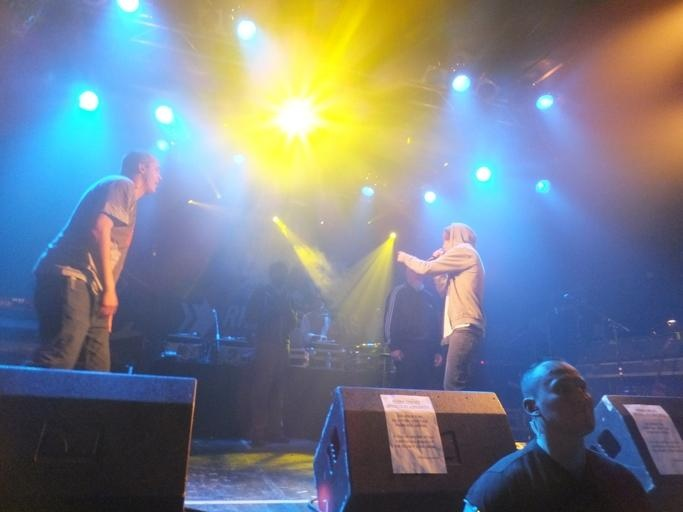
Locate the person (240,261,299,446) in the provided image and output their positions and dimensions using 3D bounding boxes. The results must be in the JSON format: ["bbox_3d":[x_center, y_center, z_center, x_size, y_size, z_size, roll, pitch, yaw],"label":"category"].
[{"bbox_3d":[-0.907,1.190,7.509,0.609,2.357,0.283,15,-20,-36],"label":"person"}]

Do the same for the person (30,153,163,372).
[{"bbox_3d":[-2.669,0.106,6.303,1.047,2.763,0.978,17,-52,-21],"label":"person"}]

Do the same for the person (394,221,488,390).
[{"bbox_3d":[1.295,0.700,7.458,1.098,2.709,0.926,2,-54,14],"label":"person"}]
